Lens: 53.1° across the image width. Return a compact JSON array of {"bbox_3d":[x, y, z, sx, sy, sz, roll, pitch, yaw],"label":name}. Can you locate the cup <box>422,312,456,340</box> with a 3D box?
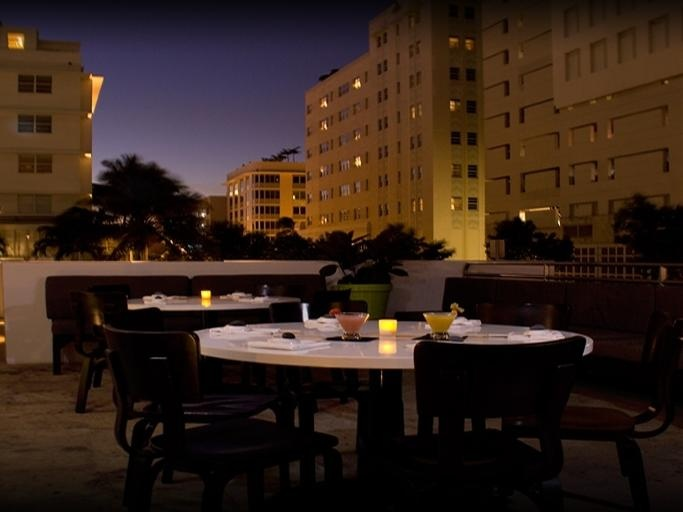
[{"bbox_3d":[0.564,0.389,3.965,0.144,0.122,0.168,-2,-1,-4],"label":"cup"}]

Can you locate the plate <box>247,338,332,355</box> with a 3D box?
[{"bbox_3d":[-0.285,0.490,3.776,0.462,0.067,0.298,-1,0,-10],"label":"plate"}]

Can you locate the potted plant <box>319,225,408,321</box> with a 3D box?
[{"bbox_3d":[0.442,0.235,10.713,1.178,1.526,1.417,-1,-6,26],"label":"potted plant"}]

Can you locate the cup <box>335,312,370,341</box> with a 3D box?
[{"bbox_3d":[0.057,0.410,4.076,0.153,0.119,0.176,-3,-5,25],"label":"cup"}]
